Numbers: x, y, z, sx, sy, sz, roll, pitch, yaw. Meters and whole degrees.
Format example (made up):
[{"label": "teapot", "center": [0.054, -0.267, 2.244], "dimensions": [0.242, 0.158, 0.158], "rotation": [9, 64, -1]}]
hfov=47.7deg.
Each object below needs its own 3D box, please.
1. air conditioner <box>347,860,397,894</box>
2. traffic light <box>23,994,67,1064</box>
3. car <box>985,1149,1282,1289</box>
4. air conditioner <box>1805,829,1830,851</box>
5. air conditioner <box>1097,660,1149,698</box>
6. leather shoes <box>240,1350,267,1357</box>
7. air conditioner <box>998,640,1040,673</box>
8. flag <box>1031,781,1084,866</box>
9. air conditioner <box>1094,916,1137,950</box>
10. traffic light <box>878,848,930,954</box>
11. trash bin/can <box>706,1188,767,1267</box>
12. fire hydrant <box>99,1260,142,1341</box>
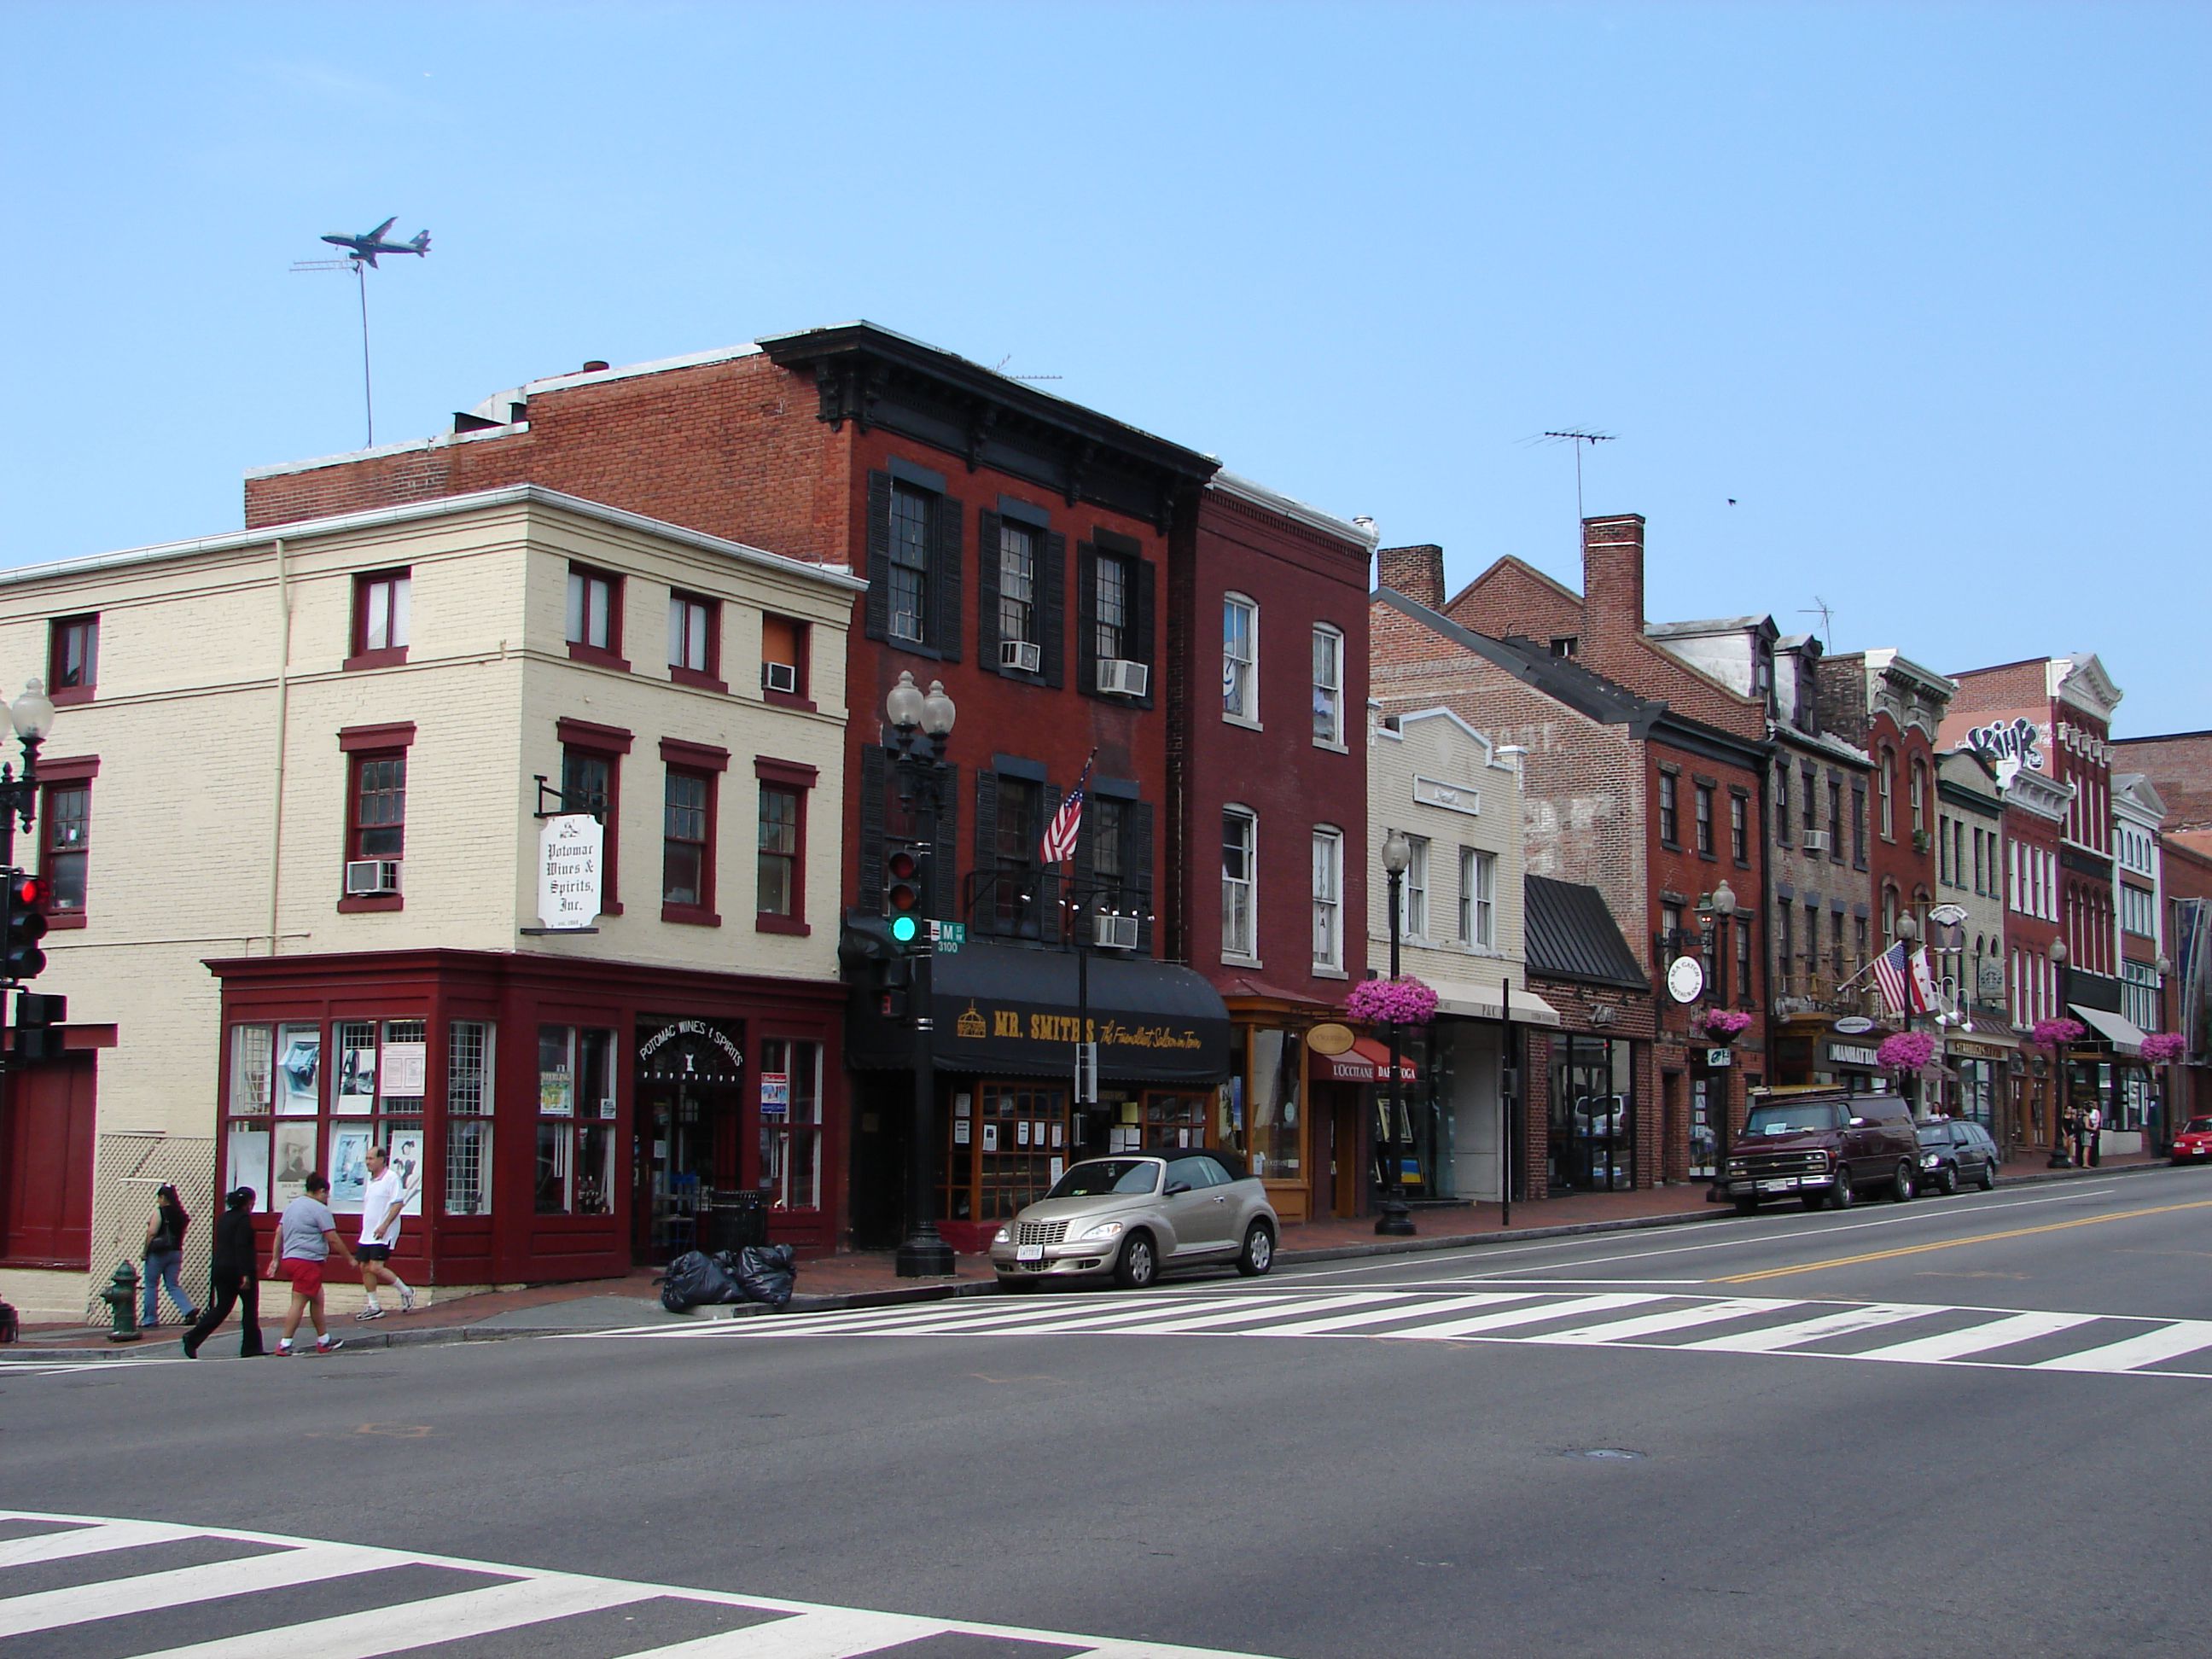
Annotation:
[{"label": "air conditioner", "center": [-9.781, 0.654, 33.214], "dimensions": [0.687, 0.545, 0.388], "rotation": [-2, -3, 31]}, {"label": "traffic light", "center": [-11.397, 2.076, 26.598], "dimensions": [0.356, 0.721, 0.619], "rotation": [2, -12, -16]}, {"label": "car", "center": [0.389, 5.090, 33.070], "dimensions": [3.948, 1.897, 1.497], "rotation": [10, -17, -43]}, {"label": "air conditioner", "center": [19.237, 0.276, 67.589], "dimensions": [0.285, 0.651, 1.210], "rotation": [-10, -15, 37]}, {"label": "air conditioner", "center": [0.276, -2.450, 42.563], "dimensions": [0.550, 0.757, 1.044], "rotation": [-6, -10, 39]}, {"label": "leather shoes", "center": [-8.970, 5.488, 26.229], "dimensions": [0.196, 0.079, 0.415], "rotation": [2, -14, -19]}, {"label": "air conditioner", "center": [-1.432, -2.821, 40.716], "dimensions": [0.422, 0.641, 0.831], "rotation": [0, -3, 28]}, {"label": "flag", "center": [-0.818, -0.113, 39.368], "dimensions": [0.078, 1.800, 1.194], "rotation": [1, 2, -45]}, {"label": "air conditioner", "center": [0.116, 1.797, 41.368], "dimensions": [0.437, 0.683, 0.922], "rotation": [-4, -5, 22]}, {"label": "traffic light", "center": [-2.533, 0.796, 31.775], "dimensions": [0.477, 1.206, 1.453], "rotation": [-1, -12, -3]}, {"label": "trash bin/can", "center": [-4.494, 4.861, 30.664], "dimensions": [0.785, 0.942, 0.868], "rotation": [4, -13, -24]}, {"label": "fire hydrant", "center": [-11.519, 5.503, 29.190], "dimensions": [0.356, 0.936, 0.765], "rotation": [3, -13, -24]}]
